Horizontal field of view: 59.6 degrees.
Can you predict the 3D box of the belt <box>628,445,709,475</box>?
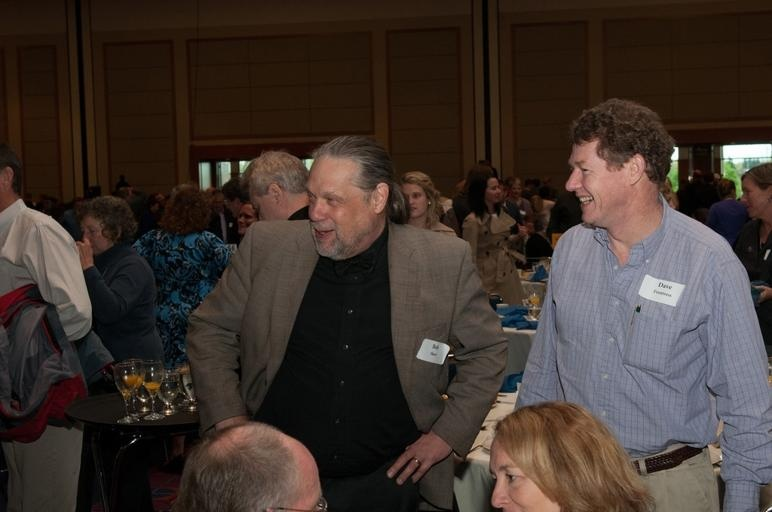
[{"bbox_3d":[0.961,0.693,2.305,0.146,0.031,0.117,-22,-16,4],"label":"belt"}]
